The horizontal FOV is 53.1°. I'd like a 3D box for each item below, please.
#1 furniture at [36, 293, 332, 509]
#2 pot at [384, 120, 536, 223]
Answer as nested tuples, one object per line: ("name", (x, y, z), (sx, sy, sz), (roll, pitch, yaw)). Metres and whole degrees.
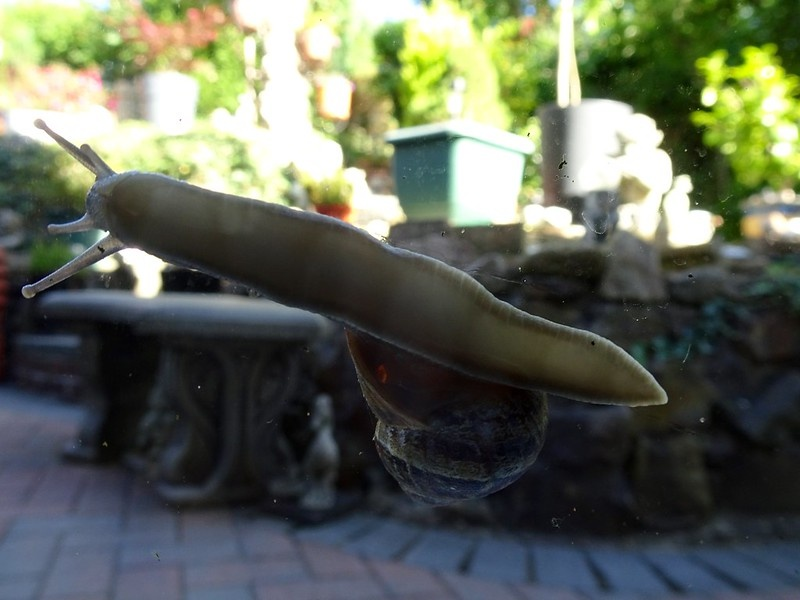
("furniture", (-0.374, 0.198, 1.633), (0.375, 0.342, 0.570), (3, -3, -21))
("pot", (0.080, -0.152, 1.091), (0.163, 0.115, 0.139), (1, -1, -33))
